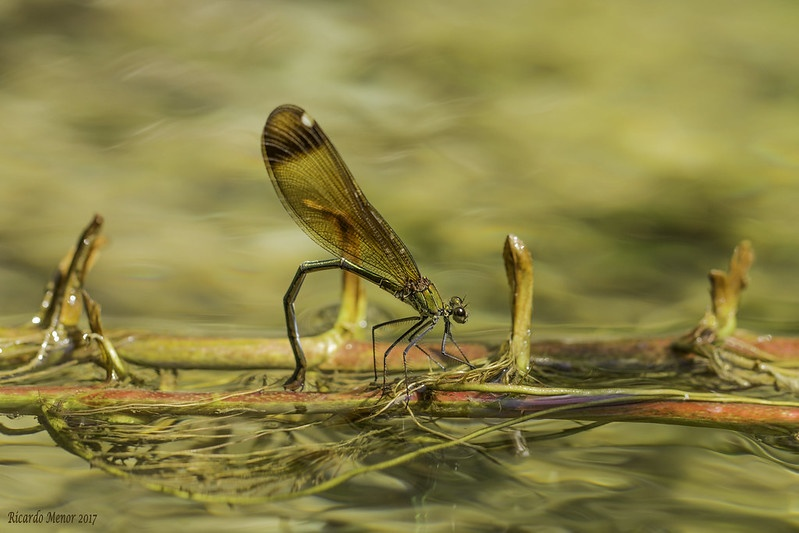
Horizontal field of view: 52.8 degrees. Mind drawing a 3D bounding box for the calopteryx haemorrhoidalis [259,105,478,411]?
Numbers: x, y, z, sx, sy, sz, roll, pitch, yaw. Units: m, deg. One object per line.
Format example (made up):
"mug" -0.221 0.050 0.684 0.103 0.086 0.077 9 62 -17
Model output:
"calopteryx haemorrhoidalis" -0.092 -0.088 1.865 0.493 0.539 0.136 11 24 23
